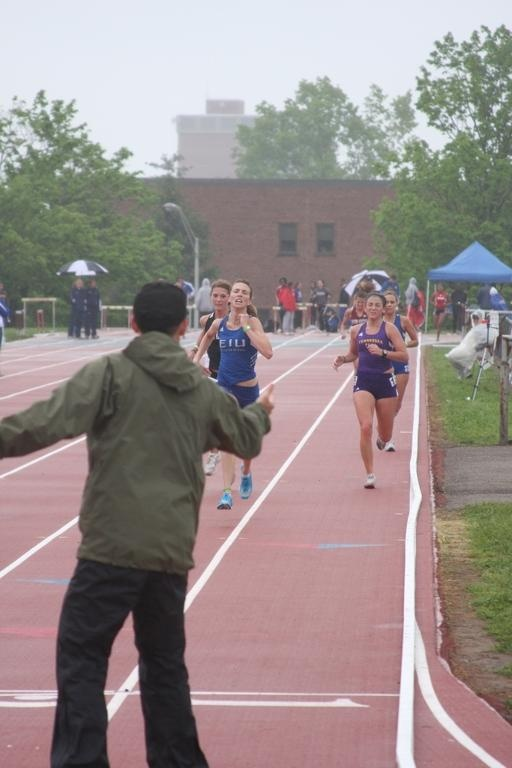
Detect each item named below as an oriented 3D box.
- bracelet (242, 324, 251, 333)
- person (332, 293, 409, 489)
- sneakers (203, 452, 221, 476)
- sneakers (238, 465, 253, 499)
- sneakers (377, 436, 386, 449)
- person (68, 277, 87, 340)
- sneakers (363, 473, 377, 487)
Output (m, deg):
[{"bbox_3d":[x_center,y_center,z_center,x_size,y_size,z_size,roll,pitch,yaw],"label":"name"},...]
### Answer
[{"bbox_3d":[-0.073,-0.469,7.963,0.056,0.059,0.054,-6,-16,14],"label":"bracelet"},{"bbox_3d":[1.146,0.072,9.266,0.644,1.914,1.521,0,4,10],"label":"person"},{"bbox_3d":[-0.485,0.858,9.991,0.121,0.184,0.412,3,16,10],"label":"sneakers"},{"bbox_3d":[-0.089,0.899,8.684,0.105,0.348,0.131,-1,4,2],"label":"sneakers"},{"bbox_3d":[1.484,0.715,11.143,0.055,0.184,0.069,-3,-4,-10],"label":"sneakers"},{"bbox_3d":[-6.163,-2.651,32.807,0.537,2.008,0.562,5,3,-1],"label":"person"},{"bbox_3d":[1.120,0.955,9.197,0.065,0.084,0.186,-1,-15,1],"label":"sneakers"}]
